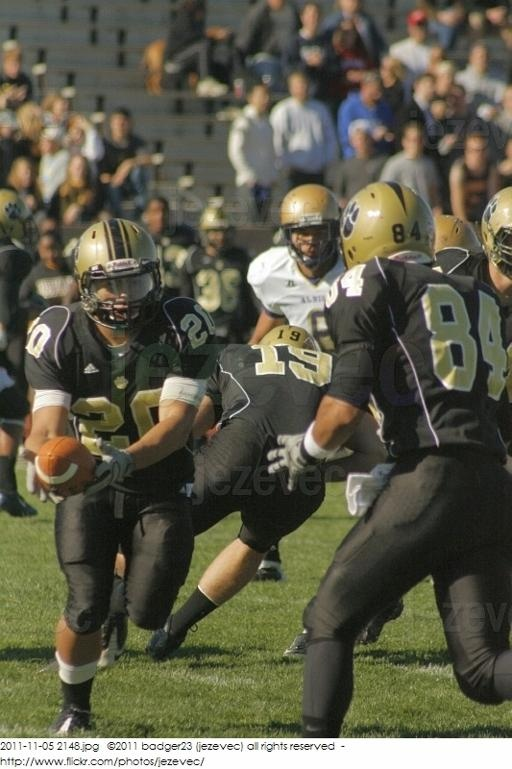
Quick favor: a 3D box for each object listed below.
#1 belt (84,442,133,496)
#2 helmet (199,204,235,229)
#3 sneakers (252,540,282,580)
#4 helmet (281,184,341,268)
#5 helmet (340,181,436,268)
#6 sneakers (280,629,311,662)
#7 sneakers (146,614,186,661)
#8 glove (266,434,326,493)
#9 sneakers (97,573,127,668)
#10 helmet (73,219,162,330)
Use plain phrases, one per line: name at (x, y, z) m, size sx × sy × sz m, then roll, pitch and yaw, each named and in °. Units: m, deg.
belt at (-0.408, 0.237, 2.732) m, size 0.058 × 0.141 × 0.107 m, roll 49°, pitch 36°, yaw -5°
helmet at (-0.259, -1.105, 6.695) m, size 0.204 × 0.145 × 0.184 m, roll 8°, pitch 55°, yaw -14°
sneakers at (0.056, 0.745, 4.215) m, size 0.088 × 0.256 × 0.172 m, roll -3°, pitch 66°, yaw 11°
helmet at (0.233, -0.714, 4.560) m, size 0.278 × 0.378 × 0.244 m, roll 2°, pitch 6°, yaw 5°
helmet at (0.380, -0.464, 2.926) m, size 0.254 × 0.263 × 0.318 m, roll -7°, pitch 10°, yaw -14°
sneakers at (0.129, 0.868, 3.405) m, size 0.077 × 0.091 × 0.171 m, roll 2°, pitch 5°, yaw 6°
sneakers at (-0.304, 0.833, 3.327) m, size 0.089 × 0.203 × 0.075 m, roll -38°, pitch 83°, yaw -29°
glove at (0.101, 0.217, 2.832) m, size 0.122 × 0.071 × 0.227 m, roll 52°, pitch 23°, yaw 3°
sneakers at (-0.467, 0.771, 3.281) m, size 0.085 × 0.296 × 0.240 m, roll 1°, pitch 6°, yaw -9°
helmet at (-0.422, -0.364, 3.077) m, size 0.265 × 0.276 × 0.340 m, roll -14°, pitch 33°, yaw -20°
